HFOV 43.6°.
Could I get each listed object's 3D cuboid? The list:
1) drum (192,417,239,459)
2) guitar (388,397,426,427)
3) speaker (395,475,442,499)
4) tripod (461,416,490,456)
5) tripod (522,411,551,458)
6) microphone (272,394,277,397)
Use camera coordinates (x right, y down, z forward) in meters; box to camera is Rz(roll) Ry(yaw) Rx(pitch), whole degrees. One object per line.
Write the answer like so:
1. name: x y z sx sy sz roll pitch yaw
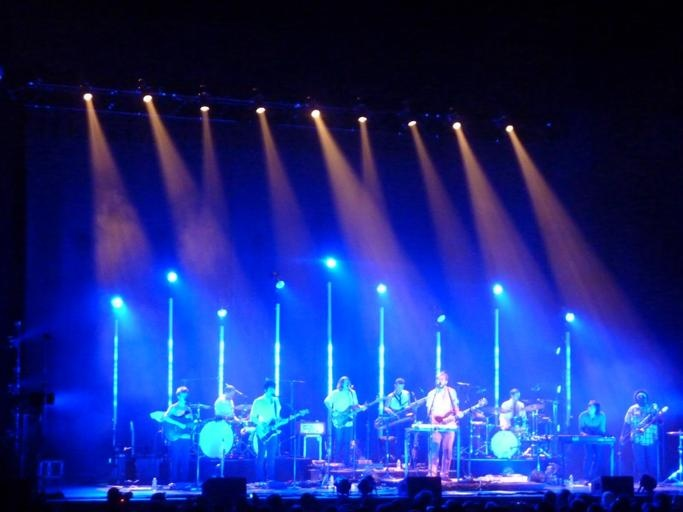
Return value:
1. drum: -2.638 3.768 17.902 0.719 0.792 0.664 -1 -4 -25
2. guitar: 1.447 3.528 19.383 1.284 0.236 0.382 -23 -37 10
3. speaker: 1.285 3.716 14.280 0.725 0.459 0.505 3 -5 -19
4. tripod: 3.177 4.242 20.136 0.901 0.877 0.878 1 -13 0
5. tripod: 4.720 4.197 20.160 0.984 1.011 0.936 1 -10 -3
6. microphone: -1.450 2.956 18.159 0.106 0.096 0.026 -4 -26 -19
